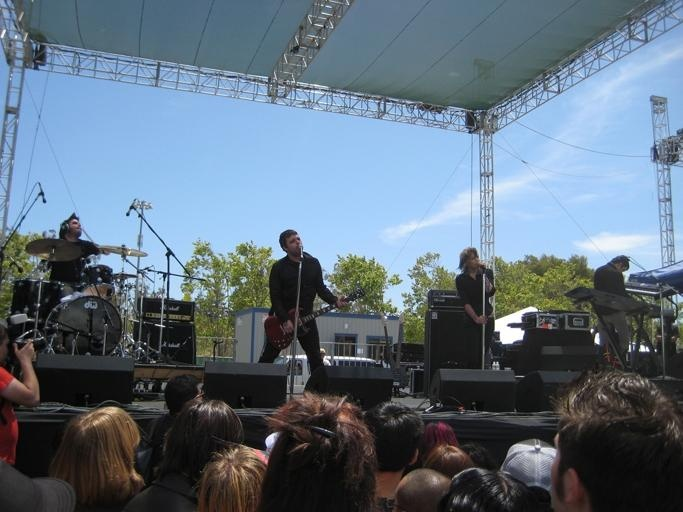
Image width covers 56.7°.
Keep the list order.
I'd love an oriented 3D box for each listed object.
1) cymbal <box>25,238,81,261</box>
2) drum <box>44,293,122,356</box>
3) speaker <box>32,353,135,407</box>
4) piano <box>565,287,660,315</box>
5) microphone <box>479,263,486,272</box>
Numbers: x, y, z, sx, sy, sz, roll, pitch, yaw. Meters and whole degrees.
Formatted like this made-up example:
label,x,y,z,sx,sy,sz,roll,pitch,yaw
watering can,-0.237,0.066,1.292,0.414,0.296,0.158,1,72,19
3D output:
label,x,y,z,sx,sy,sz,roll,pitch,yaw
cymbal,-3.758,-0.093,8.343,0.666,0.213,0.670,5,-11,-33
drum,-3.185,0.860,7.753,0.595,0.606,0.396,23,-20,-35
speaker,-2.243,1.091,5.559,0.836,0.583,0.450,2,0,-16
piano,3.280,0.560,7.691,1.465,0.324,0.811,7,-12,-42
microphone,1.764,0.143,7.919,0.040,0.098,0.136,-10,35,-8
